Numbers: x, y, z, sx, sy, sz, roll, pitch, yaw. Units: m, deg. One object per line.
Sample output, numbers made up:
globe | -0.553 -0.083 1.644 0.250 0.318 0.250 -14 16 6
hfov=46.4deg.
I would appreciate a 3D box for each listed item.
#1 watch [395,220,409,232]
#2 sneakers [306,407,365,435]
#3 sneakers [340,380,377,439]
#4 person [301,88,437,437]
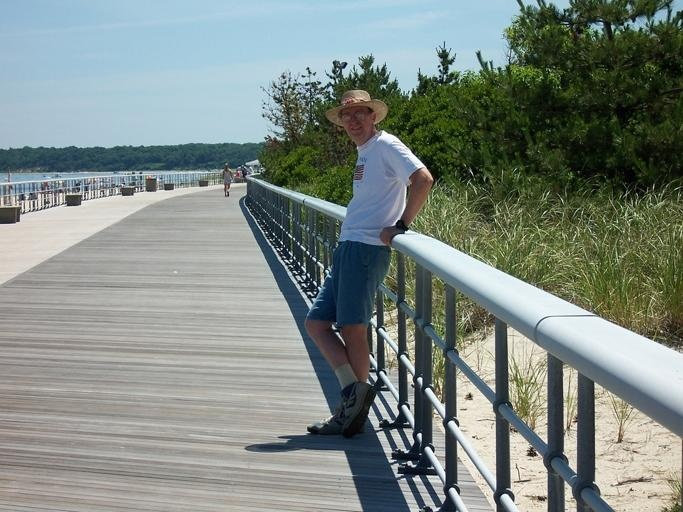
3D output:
watch | 0.356 -0.179 4.727 0.070 0.053 0.079 30 -1 -39
sneakers | -0.067 1.052 5.124 0.425 0.199 0.150 0 -1 7
sneakers | 0.100 0.954 4.942 0.177 0.378 0.195 -1 8 -16
person | 0.126 0.042 5.005 0.649 2.172 0.829 -2 9 -25
